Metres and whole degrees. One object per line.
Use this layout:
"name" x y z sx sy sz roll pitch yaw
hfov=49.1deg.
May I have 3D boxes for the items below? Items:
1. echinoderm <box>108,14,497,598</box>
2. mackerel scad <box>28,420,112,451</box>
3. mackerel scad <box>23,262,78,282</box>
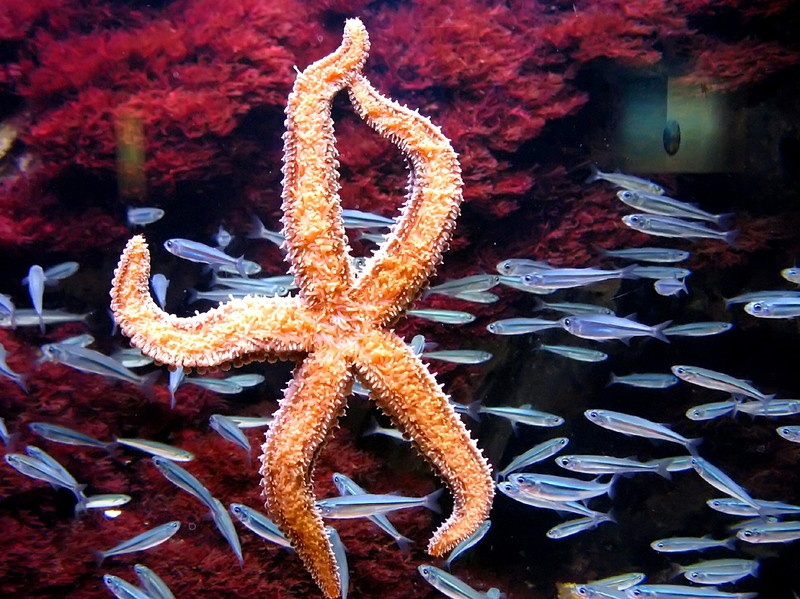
"echinoderm" -0.430 0.117 6.626 2.864 3.630 1.912 21 33 23
"mackerel scad" -2.876 1.184 7.549 0.867 0.255 0.092 14 -3 -10
"mackerel scad" -3.008 -0.260 7.696 0.304 0.132 0.130 -23 83 -25
